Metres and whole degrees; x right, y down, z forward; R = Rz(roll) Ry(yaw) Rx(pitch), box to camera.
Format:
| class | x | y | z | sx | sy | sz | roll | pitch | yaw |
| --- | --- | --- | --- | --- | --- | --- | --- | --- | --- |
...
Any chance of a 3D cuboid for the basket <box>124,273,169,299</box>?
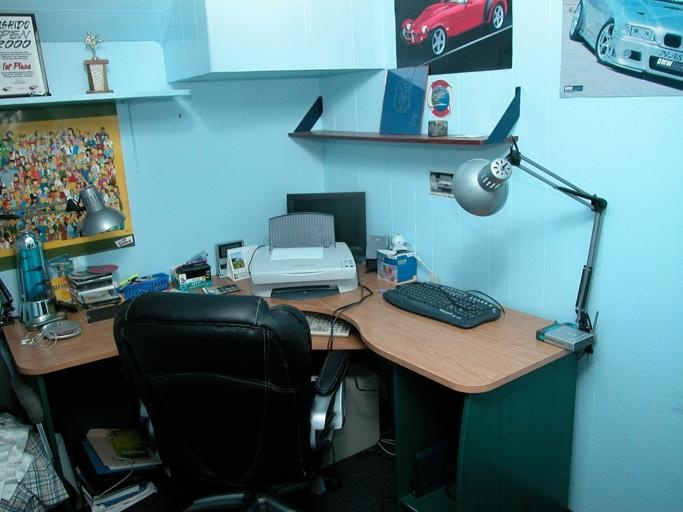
| class | x | y | z | sx | sy | sz | roll | pitch | yaw |
| --- | --- | --- | --- | --- | --- | --- | --- | --- | --- |
| basket | -0.969 | 0.147 | 2.625 | 0.144 | 0.049 | 0.096 | -17 | 11 | -38 |

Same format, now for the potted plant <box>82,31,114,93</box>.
| class | x | y | z | sx | sy | sz | roll | pitch | yaw |
| --- | --- | --- | --- | --- | --- | --- | --- | --- | --- |
| potted plant | -1.201 | -0.944 | 2.608 | 0.115 | 0.298 | 0.279 | -8 | 16 | -21 |

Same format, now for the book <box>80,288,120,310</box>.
| class | x | y | z | sx | sy | sz | roll | pitch | yaw |
| --- | --- | --- | --- | --- | --- | --- | --- | --- | --- |
| book | -1.201 | 0.202 | 2.640 | 0.115 | 0.030 | 0.122 | -4 | 21 | -19 |

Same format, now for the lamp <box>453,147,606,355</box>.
| class | x | y | z | sx | sy | sz | roll | pitch | yaw |
| --- | --- | --- | --- | --- | --- | --- | --- | --- | --- |
| lamp | 0.767 | -0.025 | 2.186 | 0.522 | 0.838 | 0.415 | 11 | 20 | 40 |

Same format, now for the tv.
| class | x | y | z | sx | sy | sz | roll | pitch | yaw |
| --- | --- | --- | --- | --- | --- | --- | --- | --- | --- |
| tv | -0.072 | -0.152 | 3.023 | 0.386 | 0.401 | 0.030 | 0 | 9 | 7 |

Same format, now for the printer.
| class | x | y | z | sx | sy | sz | roll | pitch | yaw |
| --- | --- | --- | --- | --- | --- | --- | --- | --- | --- |
| printer | -0.210 | 0.003 | 2.828 | 0.476 | 0.315 | 0.486 | -2 | 15 | -3 |

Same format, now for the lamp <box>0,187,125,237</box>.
| class | x | y | z | sx | sy | sz | roll | pitch | yaw |
| --- | --- | --- | --- | --- | --- | --- | --- | --- | --- |
| lamp | -1.378 | -0.188 | 2.628 | 0.562 | 0.287 | 0.351 | -9 | 17 | -23 |
